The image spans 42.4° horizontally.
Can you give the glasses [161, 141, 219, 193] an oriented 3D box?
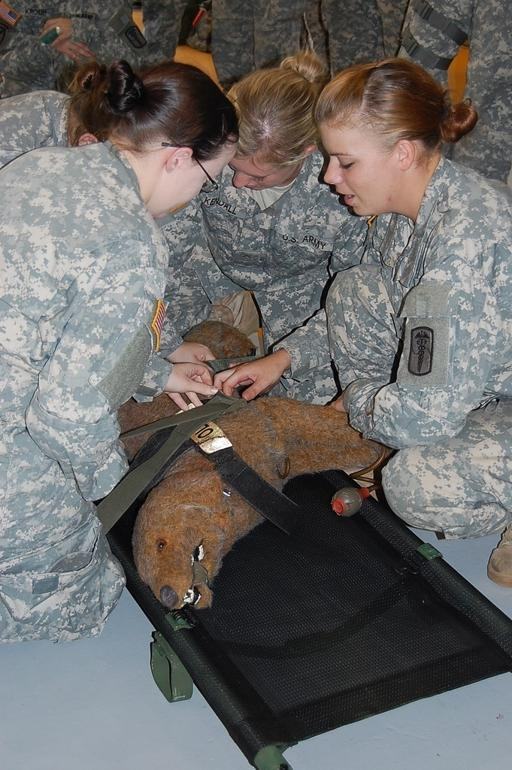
[{"bbox_3d":[-0.140,-0.452,1.357,0.095,0.028,0.094,-17,82,12],"label":"glasses"}]
